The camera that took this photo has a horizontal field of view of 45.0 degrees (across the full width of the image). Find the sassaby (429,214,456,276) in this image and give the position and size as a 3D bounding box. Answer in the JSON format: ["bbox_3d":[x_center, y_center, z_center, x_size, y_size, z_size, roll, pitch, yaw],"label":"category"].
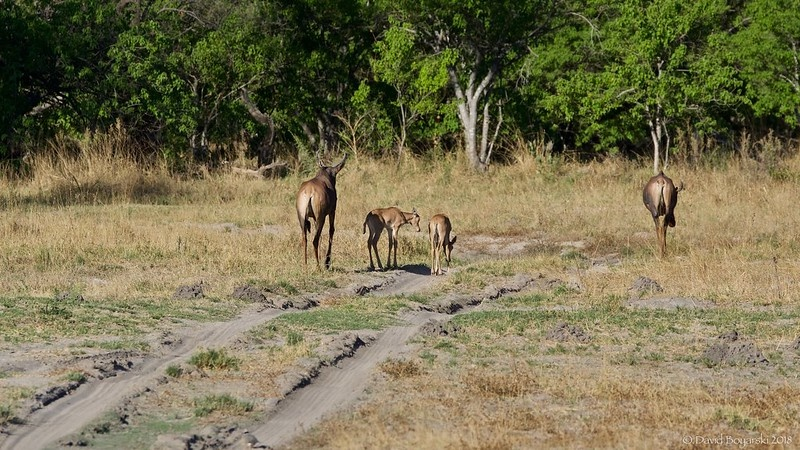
[{"bbox_3d":[1.399,0.469,31.632,0.774,1.917,2.339,3,12,3],"label":"sassaby"}]

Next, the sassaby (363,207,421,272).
[{"bbox_3d":[-0.231,0.378,31.689,2.358,2.032,0.627,2,-5,-38],"label":"sassaby"}]
